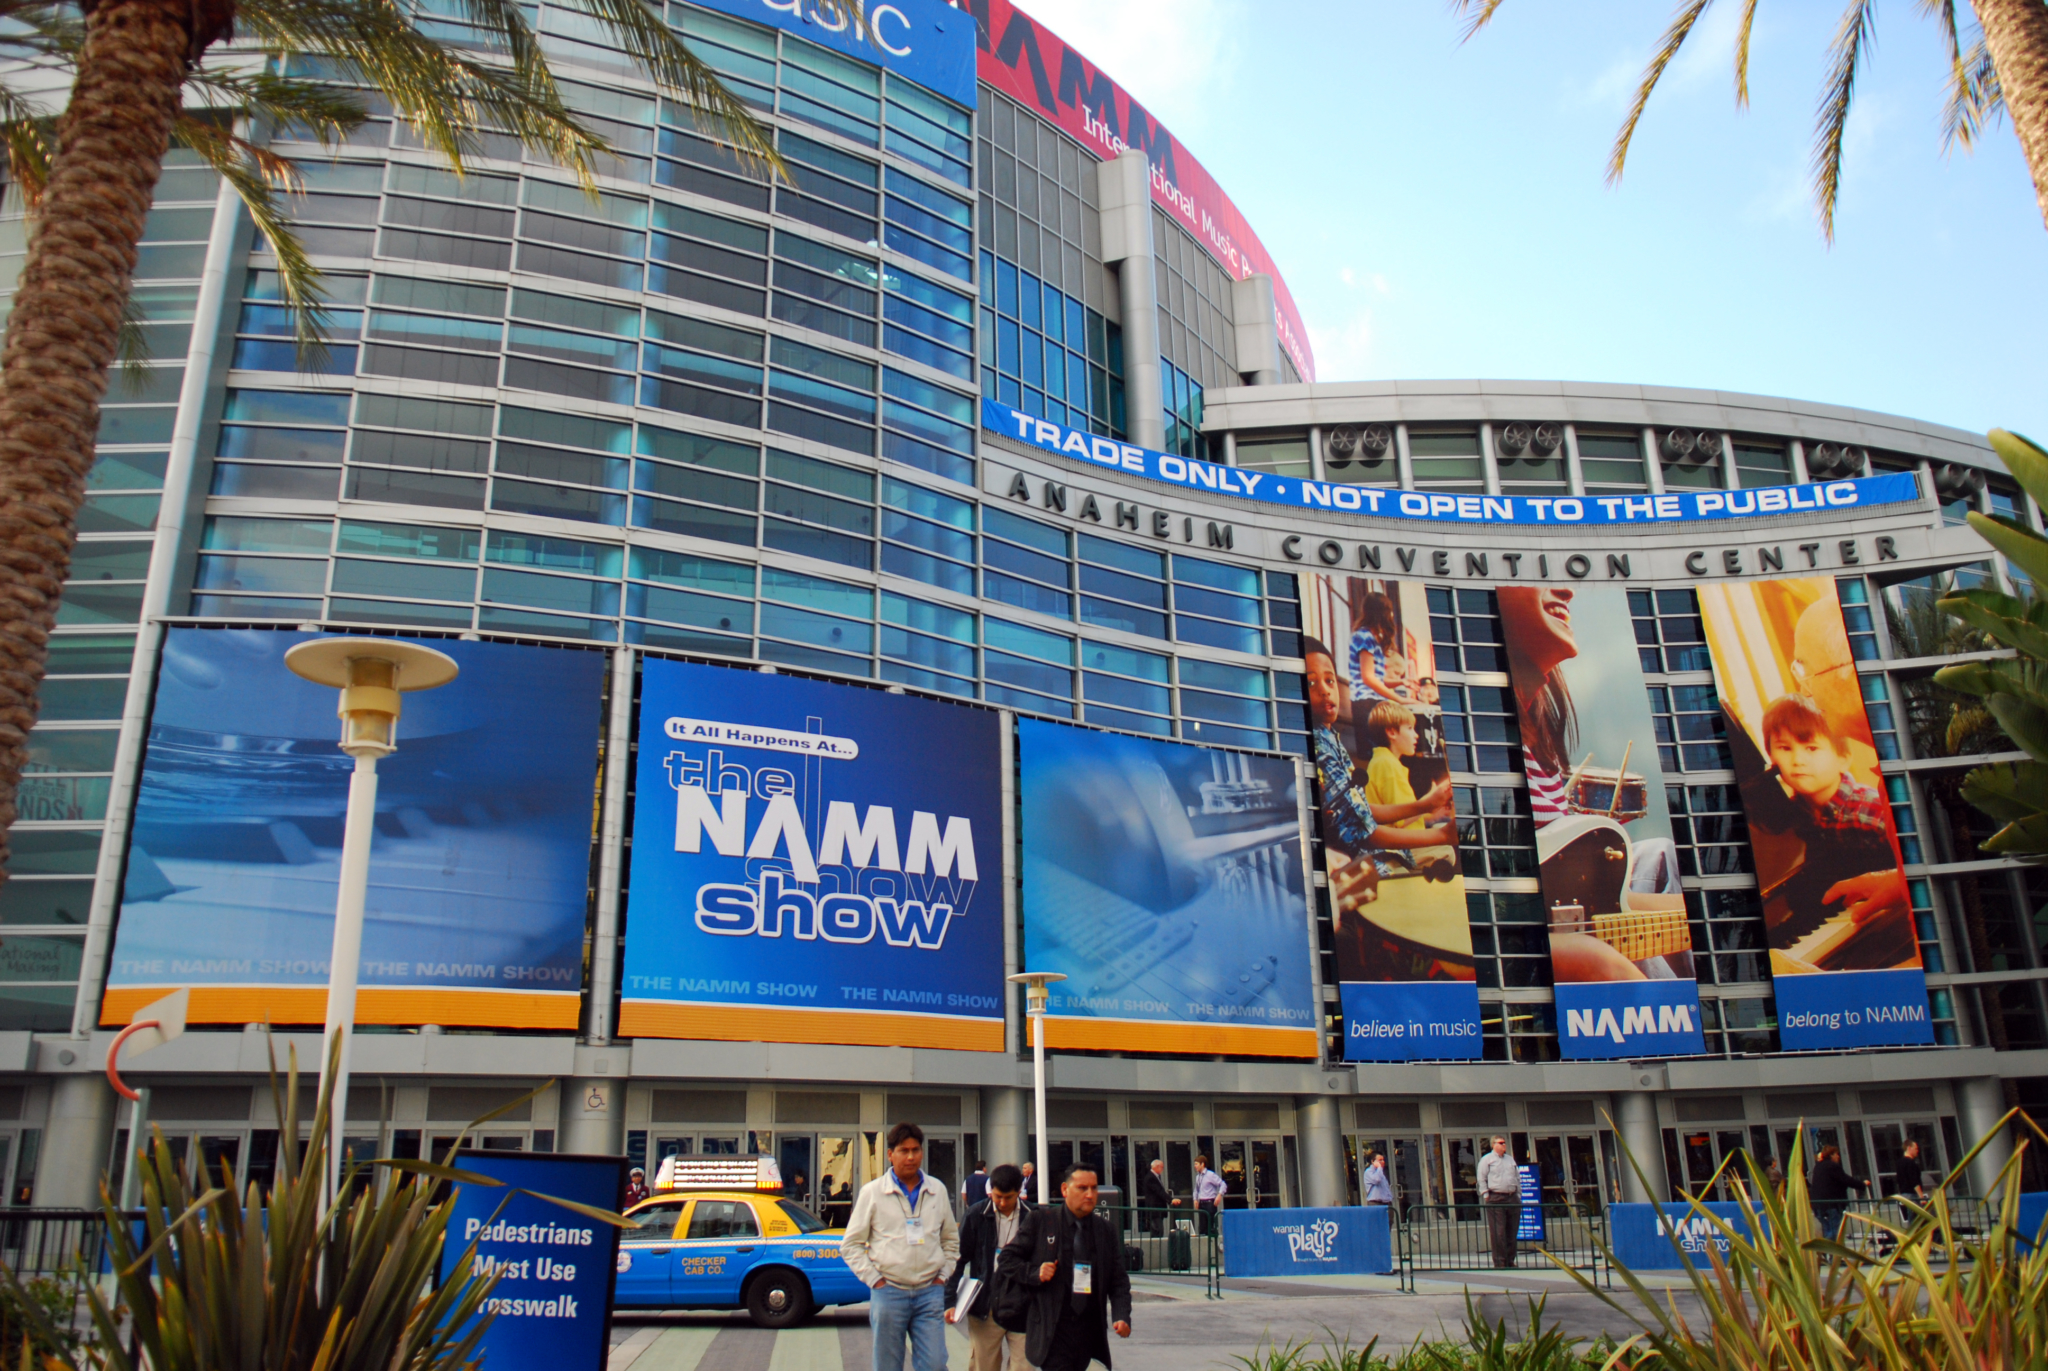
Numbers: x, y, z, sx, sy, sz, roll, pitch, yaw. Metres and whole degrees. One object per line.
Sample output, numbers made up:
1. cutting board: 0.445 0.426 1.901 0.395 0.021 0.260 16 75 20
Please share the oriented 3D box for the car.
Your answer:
1. car: -4.691 8.027 21.389 5.868 1.639 2.225 -4 -11 9
